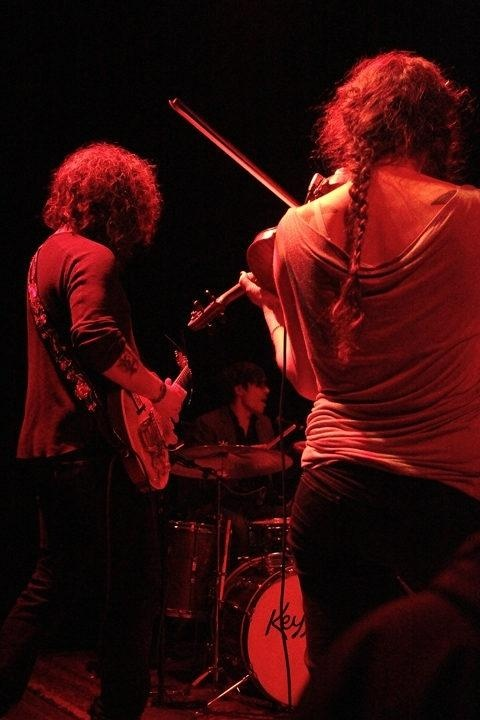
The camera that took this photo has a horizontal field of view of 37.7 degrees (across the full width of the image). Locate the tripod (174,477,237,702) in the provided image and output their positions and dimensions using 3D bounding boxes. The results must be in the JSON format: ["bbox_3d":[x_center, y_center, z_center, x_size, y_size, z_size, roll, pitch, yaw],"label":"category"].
[{"bbox_3d":[-0.120,1.024,3.184,0.301,0.787,0.317,-3,1,-14],"label":"tripod"}]
